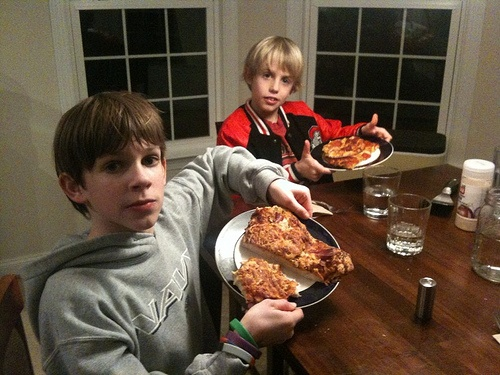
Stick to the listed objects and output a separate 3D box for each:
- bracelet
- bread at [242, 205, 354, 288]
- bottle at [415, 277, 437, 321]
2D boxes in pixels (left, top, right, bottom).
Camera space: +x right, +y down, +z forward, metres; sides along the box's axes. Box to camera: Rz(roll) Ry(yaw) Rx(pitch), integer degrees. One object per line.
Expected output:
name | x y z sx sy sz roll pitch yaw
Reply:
bracelet | -0.020 0.358 0.865 0.084 0.100 0.077 8 21 29
bread | 0.123 0.148 1.027 0.267 0.080 0.161 27 46 21
bottle | 0.436 0.274 0.939 0.041 0.090 0.079 6 20 25
